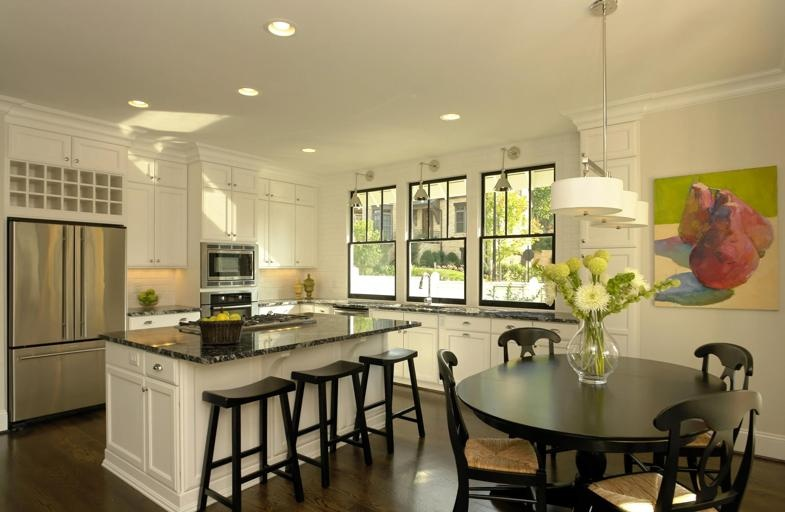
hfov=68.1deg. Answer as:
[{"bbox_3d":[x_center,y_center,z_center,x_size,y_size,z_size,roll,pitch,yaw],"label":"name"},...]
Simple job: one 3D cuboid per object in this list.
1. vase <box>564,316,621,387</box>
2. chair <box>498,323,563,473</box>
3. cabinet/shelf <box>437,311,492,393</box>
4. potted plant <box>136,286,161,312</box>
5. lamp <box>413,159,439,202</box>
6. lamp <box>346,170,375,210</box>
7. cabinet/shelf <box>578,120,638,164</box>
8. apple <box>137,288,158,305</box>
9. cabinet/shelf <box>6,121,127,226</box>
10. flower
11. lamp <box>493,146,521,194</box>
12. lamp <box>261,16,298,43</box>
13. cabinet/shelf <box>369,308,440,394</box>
[{"bbox_3d":[1.635,0.761,4.834,0.396,0.534,0.389,0,-4,22],"label":"vase"},{"bbox_3d":[1.533,1.407,5.692,0.948,1.251,0.934,2,-24,20],"label":"chair"},{"bbox_3d":[1.031,1.100,7.381,0.779,0.915,0.690,0,12,15],"label":"cabinet/shelf"},{"bbox_3d":[-3.127,0.555,7.496,0.294,0.271,0.295,-1,-4,44],"label":"potted plant"},{"bbox_3d":[0.462,-1.043,7.884,0.338,0.568,0.623,-1,-1,4],"label":"lamp"},{"bbox_3d":[-0.452,-0.994,8.524,0.386,0.564,0.895,-1,-1,-4],"label":"lamp"},{"bbox_3d":[2.271,-1.237,6.426,0.814,0.534,0.411,3,-5,3],"label":"cabinet/shelf"},{"bbox_3d":[-3.140,0.525,7.440,0.233,0.185,0.232,-4,-7,42],"label":"apple"},{"bbox_3d":[-3.748,-0.956,6.576,0.399,1.055,1.261,-1,-2,41],"label":"cabinet/shelf"},{"bbox_3d":[1.750,0.481,4.830,1.085,0.908,0.835,2,-1,20],"label":"flower"},{"bbox_3d":[1.402,-1.102,7.240,0.257,0.565,0.239,15,-4,-22],"label":"lamp"},{"bbox_3d":[-0.955,-1.944,4.978,0.263,0.082,0.240,-2,-1,29],"label":"lamp"},{"bbox_3d":[0.277,1.210,7.837,1.188,1.071,0.603,2,5,34],"label":"cabinet/shelf"}]
